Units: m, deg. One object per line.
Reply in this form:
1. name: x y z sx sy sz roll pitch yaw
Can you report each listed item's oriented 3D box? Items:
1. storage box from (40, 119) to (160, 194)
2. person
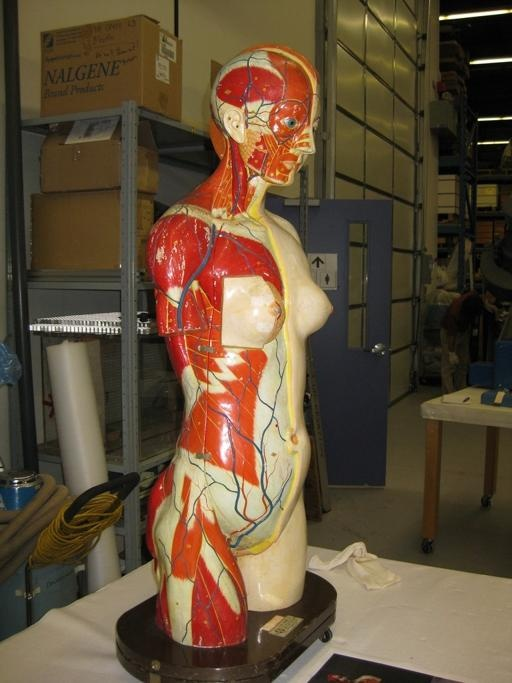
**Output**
1. storage box: -0.594 -0.639 2.100 0.346 0.264 0.282 1 2 19
2. person: -0.021 -0.008 0.824 0.288 0.822 0.231 -1 3 -24
